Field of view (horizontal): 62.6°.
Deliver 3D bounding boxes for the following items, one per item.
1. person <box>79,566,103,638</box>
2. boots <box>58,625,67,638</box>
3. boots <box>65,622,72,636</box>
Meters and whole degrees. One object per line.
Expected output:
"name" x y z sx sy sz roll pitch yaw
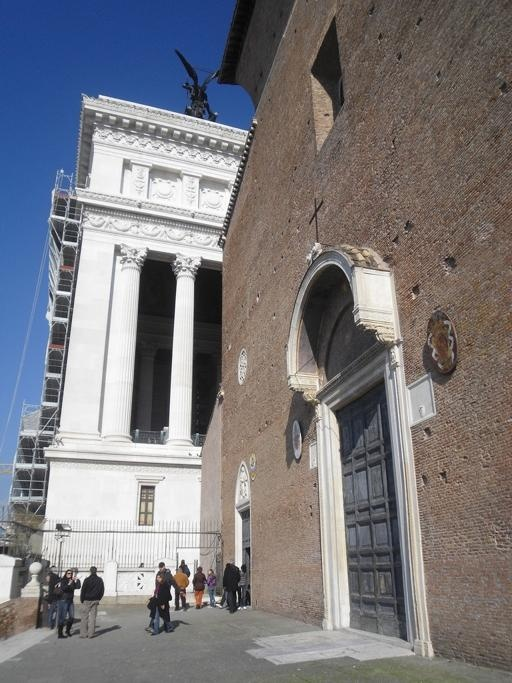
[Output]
"person" -3.575 5.670 9.182 0.445 1.362 0.954 6 -21 -20
"boots" -4.253 6.350 9.259 0.172 0.239 0.626 8 -26 -23
"boots" -4.148 6.380 9.364 0.113 0.299 0.474 7 -24 -22
